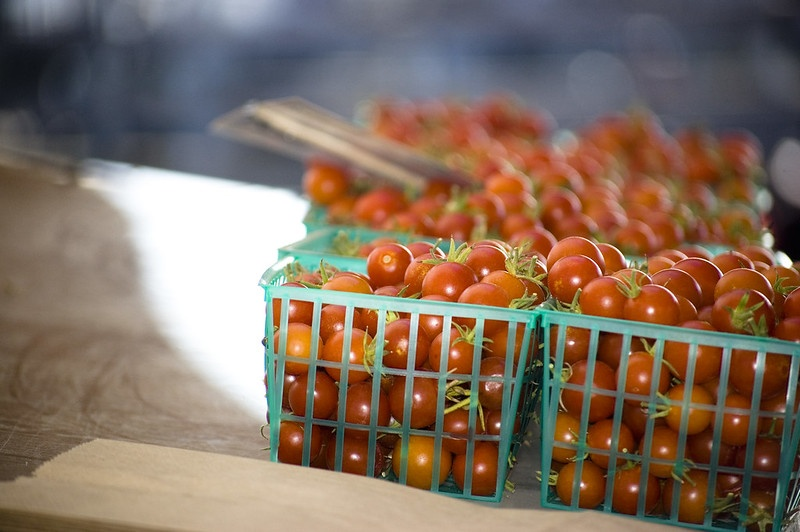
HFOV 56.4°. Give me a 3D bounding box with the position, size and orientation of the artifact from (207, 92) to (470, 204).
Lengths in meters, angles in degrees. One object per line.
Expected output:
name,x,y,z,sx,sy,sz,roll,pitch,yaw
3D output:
artifact,-0.163,-0.302,1.843,0.519,0.084,0.308,15,8,4
